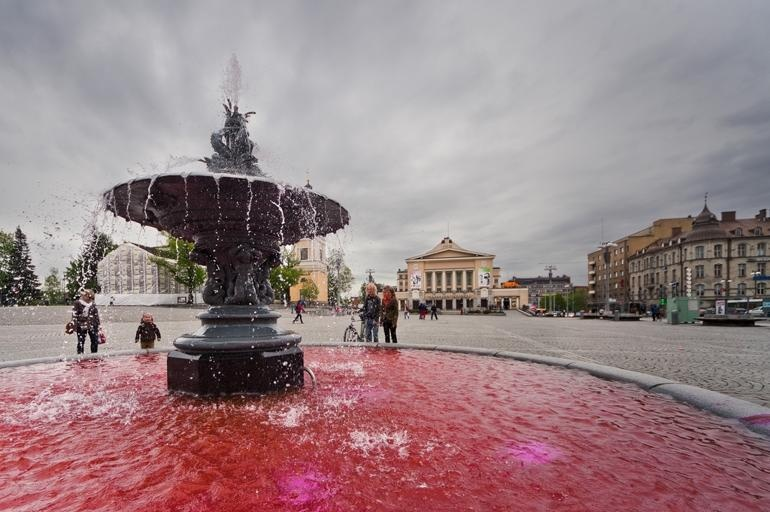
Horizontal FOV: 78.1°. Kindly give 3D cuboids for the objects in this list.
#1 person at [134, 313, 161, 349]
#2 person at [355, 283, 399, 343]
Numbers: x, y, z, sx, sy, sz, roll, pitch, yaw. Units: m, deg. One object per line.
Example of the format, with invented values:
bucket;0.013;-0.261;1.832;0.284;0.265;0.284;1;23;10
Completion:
person;-5.254;1.651;10.468;0.403;0.878;1.078;0;2;-24
person;-0.148;1.445;11.656;0.841;1.571;1.572;1;2;-3
